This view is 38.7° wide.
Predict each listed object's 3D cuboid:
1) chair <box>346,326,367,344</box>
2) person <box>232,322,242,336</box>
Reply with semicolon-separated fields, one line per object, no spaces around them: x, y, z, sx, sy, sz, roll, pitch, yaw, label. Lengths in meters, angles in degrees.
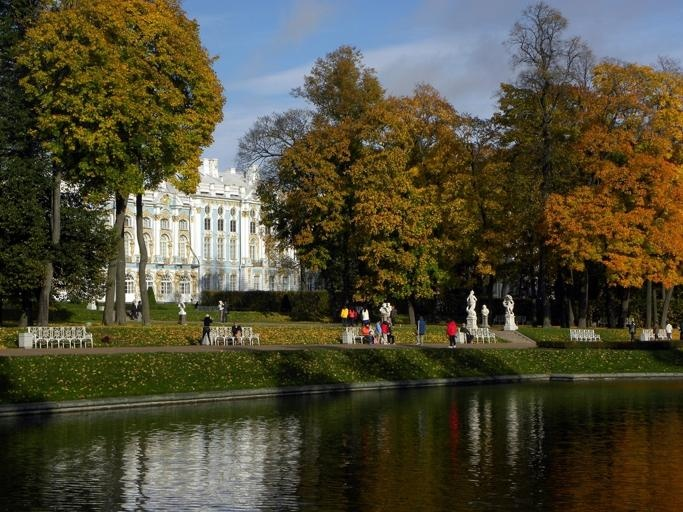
0.720;4.271;52.178;1.044;0.942;3.012;0;-7;3;chair
-5.219;3.700;48.612;0.475;0.592;1.078;2;-7;-7;person
